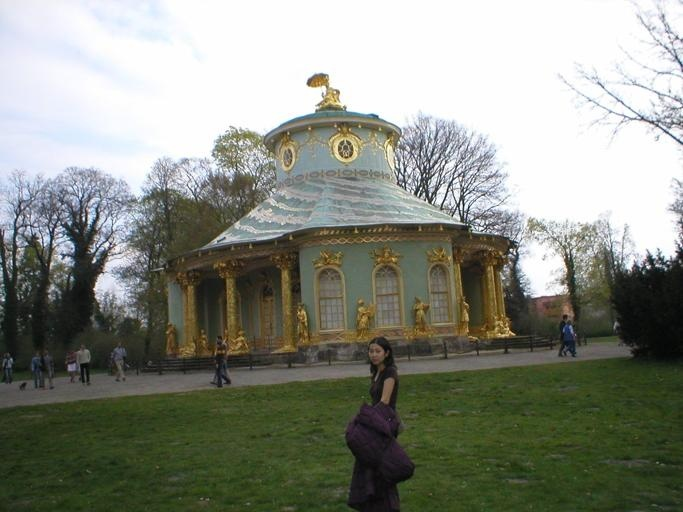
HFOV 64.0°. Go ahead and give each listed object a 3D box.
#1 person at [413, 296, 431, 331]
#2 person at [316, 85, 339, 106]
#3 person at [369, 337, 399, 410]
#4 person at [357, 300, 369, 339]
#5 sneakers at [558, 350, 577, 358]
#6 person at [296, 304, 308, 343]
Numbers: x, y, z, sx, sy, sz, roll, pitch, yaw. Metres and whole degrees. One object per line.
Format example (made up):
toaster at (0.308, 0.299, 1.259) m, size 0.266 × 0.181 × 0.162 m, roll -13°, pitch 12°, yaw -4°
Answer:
person at (3.889, 2.826, 26.513) m, size 0.701 × 1.732 × 0.432 m, roll -1°, pitch -10°, yaw -14°
person at (-0.713, -10.321, 34.971) m, size 1.164 × 1.699 × 0.890 m, roll -2°, pitch -10°, yaw -8°
person at (0.513, 1.451, 6.728) m, size 0.354 × 0.931 × 0.952 m, roll -4°, pitch -10°, yaw 3°
person at (1.021, 2.952, 25.871) m, size 0.678 × 1.839 × 0.532 m, roll -4°, pitch -10°, yaw 1°
sneakers at (9.157, 3.972, 22.115) m, size 0.219 × 0.311 × 0.690 m, roll 2°, pitch -16°, yaw -18°
person at (-1.821, 3.203, 26.169) m, size 0.523 × 1.970 × 0.403 m, roll -4°, pitch -10°, yaw 0°
